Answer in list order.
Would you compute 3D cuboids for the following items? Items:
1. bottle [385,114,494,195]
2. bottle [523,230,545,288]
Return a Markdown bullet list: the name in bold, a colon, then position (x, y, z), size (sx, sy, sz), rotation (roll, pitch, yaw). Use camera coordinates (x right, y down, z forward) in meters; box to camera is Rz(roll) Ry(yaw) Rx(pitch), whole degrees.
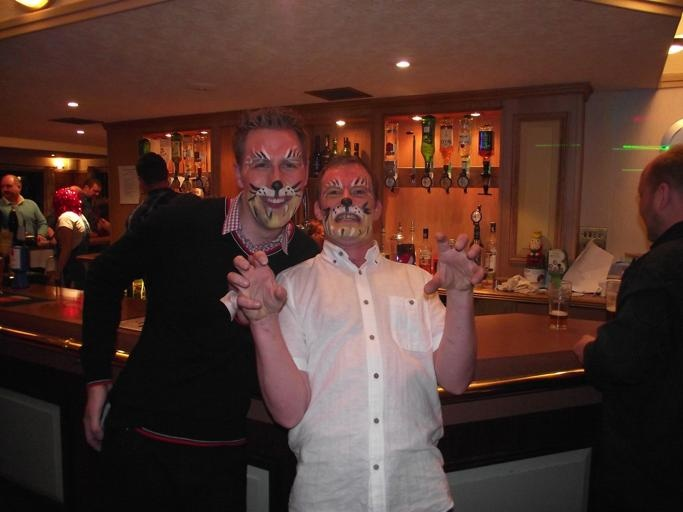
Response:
- **bottle**: position (0.846, -0.857, 4.741), size (0.673, 0.442, 0.094), rotation (1, 1, 30)
- **bottle**: position (1.508, 0.029, 4.395), size (0.157, 0.420, 0.242), rotation (2, 6, 17)
